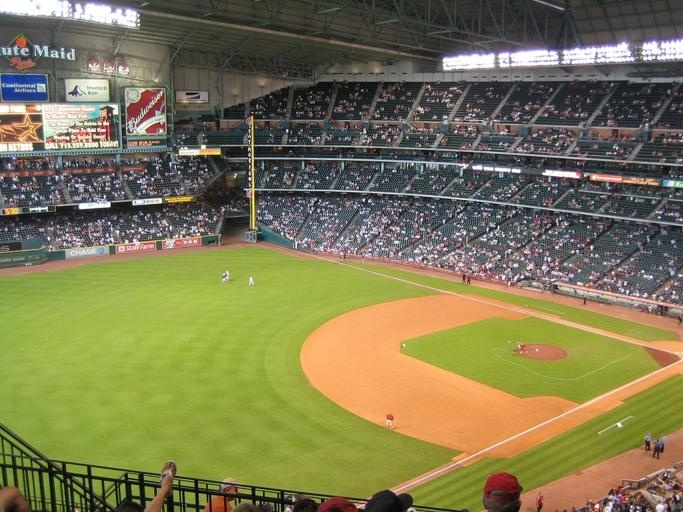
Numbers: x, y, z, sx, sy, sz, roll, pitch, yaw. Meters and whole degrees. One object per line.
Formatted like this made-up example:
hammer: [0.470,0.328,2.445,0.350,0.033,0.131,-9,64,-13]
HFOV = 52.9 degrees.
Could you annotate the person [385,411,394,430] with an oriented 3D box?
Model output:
person: [2.799,9.907,40.806,0.420,0.909,0.296,10,-14,-2]

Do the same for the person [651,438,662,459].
person: [17.885,10.822,38.579,0.569,0.948,0.922,7,12,26]

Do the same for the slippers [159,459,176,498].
slippers: [-5.178,6.335,19.598,0.443,0.521,1.183,12,43,-10]
